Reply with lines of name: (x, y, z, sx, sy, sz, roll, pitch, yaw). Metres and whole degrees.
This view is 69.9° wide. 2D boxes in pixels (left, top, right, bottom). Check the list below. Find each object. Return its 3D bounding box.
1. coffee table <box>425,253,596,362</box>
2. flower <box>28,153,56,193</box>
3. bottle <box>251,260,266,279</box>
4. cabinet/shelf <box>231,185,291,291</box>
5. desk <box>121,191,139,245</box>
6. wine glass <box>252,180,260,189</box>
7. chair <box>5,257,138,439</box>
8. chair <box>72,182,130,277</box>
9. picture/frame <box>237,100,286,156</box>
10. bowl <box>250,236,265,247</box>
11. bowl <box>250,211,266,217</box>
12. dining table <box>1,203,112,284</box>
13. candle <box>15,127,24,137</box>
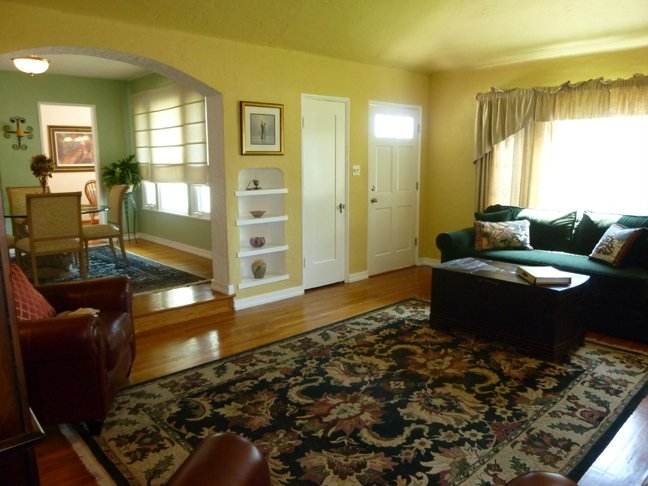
coffee table: (1.777, 0.272, 4.102, 0.798, 0.588, 1.338, -13, 17, -42)
flower: (-3.263, -0.802, 5.404, 0.219, 0.440, 0.300, -10, 16, -29)
bottle: (-0.723, 0.286, 5.126, 0.148, 0.201, 0.163, -2, 14, 0)
cabinet/shelf: (-0.718, -0.081, 5.129, 0.668, 1.046, 0.362, -13, 18, -37)
desk: (-3.362, -0.490, 8.084, 0.261, 0.874, 0.233, -1, 12, -9)
wine glass: (-0.735, -0.636, 5.013, 0.075, 0.100, 0.232, -4, 13, -7)
chair: (-1.710, 0.563, 3.027, 0.753, 0.751, 0.907, 3, 18, -11)
chair: (-2.993, -0.237, 6.204, 0.642, 0.936, 0.699, 11, 20, 43)
picture/frame: (-0.674, -1.207, 4.813, 0.686, 0.604, 0.046, -5, 9, -37)
bowl: (-0.725, -0.008, 5.124, 0.170, 0.116, 0.138, -8, 14, -25)
bowl: (-0.731, -0.323, 5.105, 0.154, 0.071, 0.204, -3, 13, -8)
dining table: (-3.021, -0.234, 5.265, 0.913, 1.339, 0.985, -6, 34, -27)
candle: (-4.580, -1.677, 6.978, 0.096, 0.150, 0.114, -8, 15, -22)
